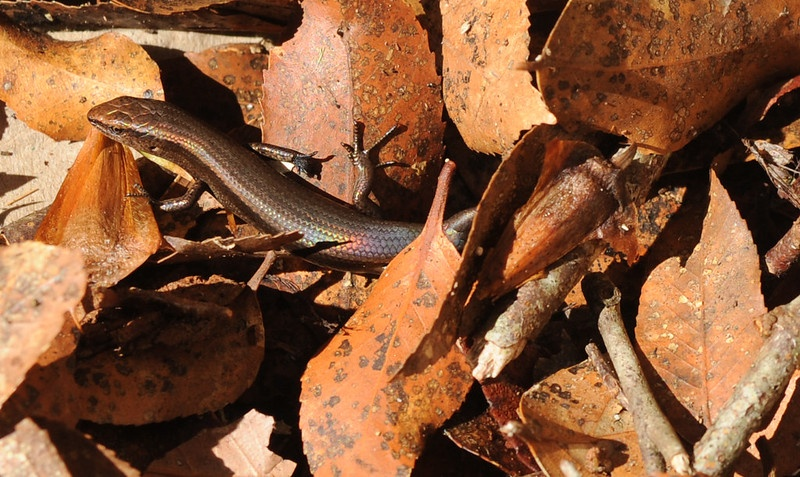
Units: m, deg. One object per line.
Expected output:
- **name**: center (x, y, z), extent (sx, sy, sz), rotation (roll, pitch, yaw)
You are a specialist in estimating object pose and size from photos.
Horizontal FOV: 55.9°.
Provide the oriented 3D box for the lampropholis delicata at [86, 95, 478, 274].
- **lampropholis delicata**: center (-0.806, -0.396, 4.540), extent (1.985, 0.849, 0.396), rotation (12, 17, 10)
